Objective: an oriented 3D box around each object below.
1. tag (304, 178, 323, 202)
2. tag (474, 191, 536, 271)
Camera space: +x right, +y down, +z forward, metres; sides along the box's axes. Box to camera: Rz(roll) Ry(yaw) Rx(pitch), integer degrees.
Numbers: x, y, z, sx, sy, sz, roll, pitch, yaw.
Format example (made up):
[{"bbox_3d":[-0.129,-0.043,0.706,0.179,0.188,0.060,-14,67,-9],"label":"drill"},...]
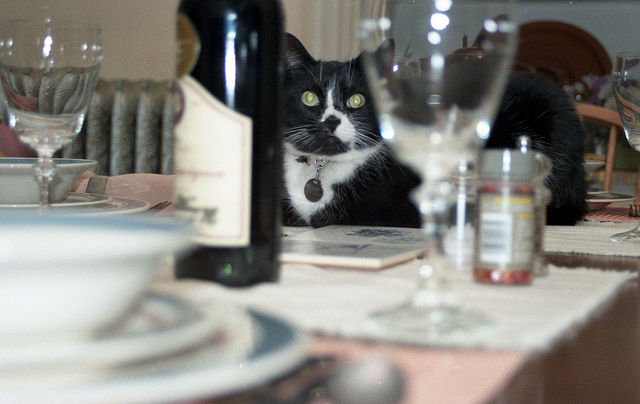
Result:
[{"bbox_3d":[-0.008,-0.014,0.876,0.024,0.032,0.034,1,8,9],"label":"tag"},{"bbox_3d":[0.162,0.027,0.549,0.037,0.068,0.048,5,5,10],"label":"tag"}]
